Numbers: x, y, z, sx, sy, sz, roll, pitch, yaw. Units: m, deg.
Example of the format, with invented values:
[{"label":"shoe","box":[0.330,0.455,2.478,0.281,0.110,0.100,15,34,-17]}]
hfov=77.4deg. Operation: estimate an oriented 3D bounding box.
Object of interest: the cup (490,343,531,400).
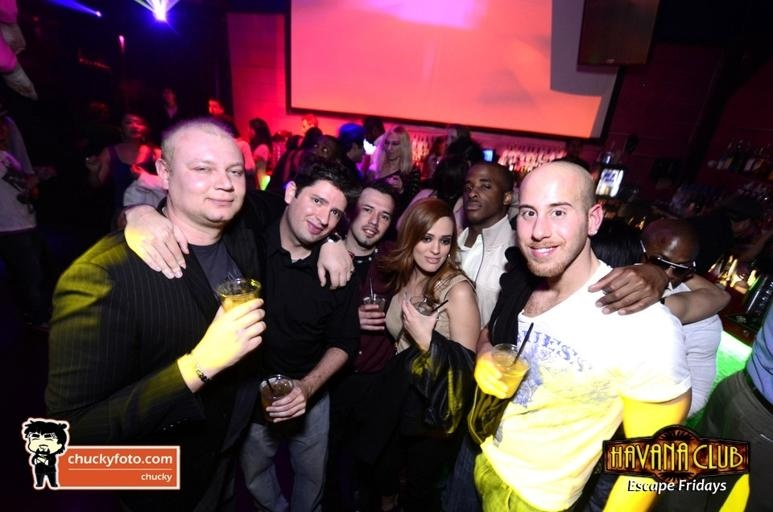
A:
[{"label":"cup","box":[0.939,0.867,3.813,0.381,0.401,0.381,1,25,0]}]

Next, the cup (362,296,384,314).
[{"label":"cup","box":[-0.108,0.450,4.388,0.169,0.113,0.161,1,-7,0]}]
